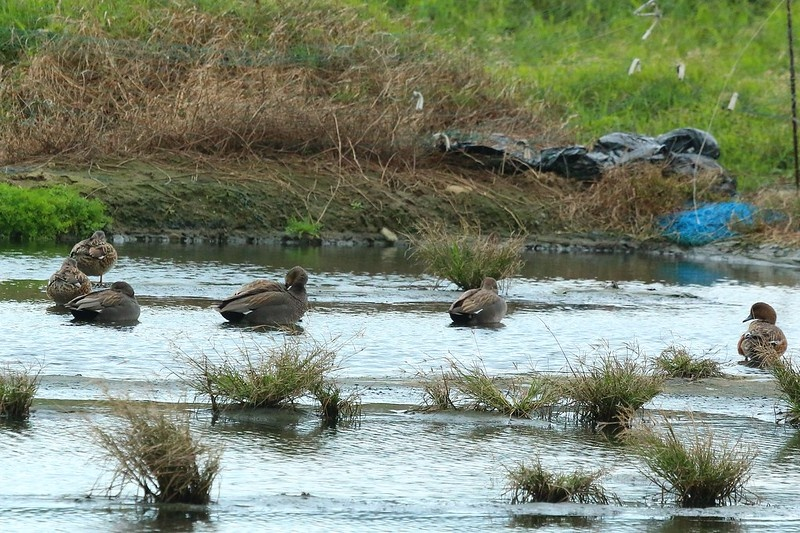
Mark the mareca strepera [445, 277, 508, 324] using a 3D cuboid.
[{"bbox_3d":[1.190,0.615,23.593,1.232,0.669,0.711,-12,19,-42],"label":"mareca strepera"}]

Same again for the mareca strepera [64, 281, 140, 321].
[{"bbox_3d":[-4.913,0.649,23.052,1.304,0.782,0.749,0,-2,-39],"label":"mareca strepera"}]
